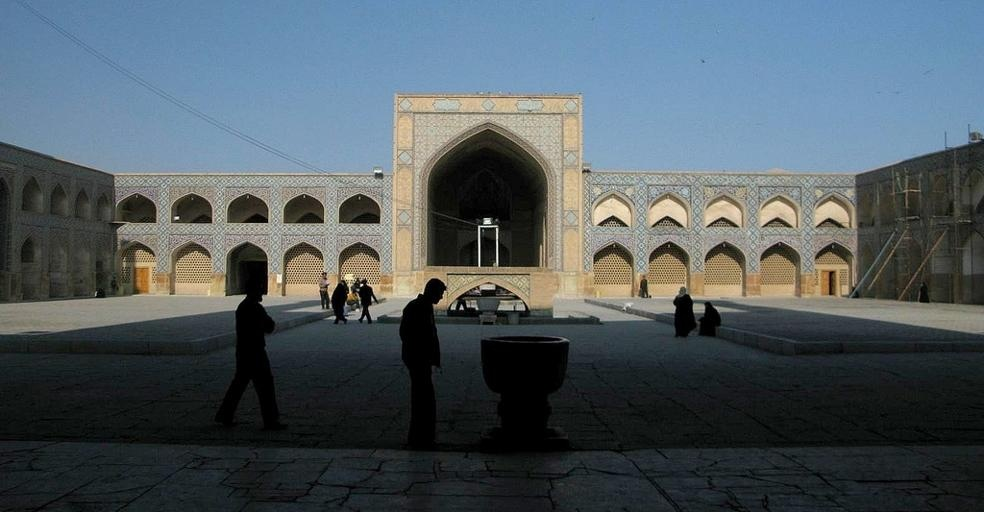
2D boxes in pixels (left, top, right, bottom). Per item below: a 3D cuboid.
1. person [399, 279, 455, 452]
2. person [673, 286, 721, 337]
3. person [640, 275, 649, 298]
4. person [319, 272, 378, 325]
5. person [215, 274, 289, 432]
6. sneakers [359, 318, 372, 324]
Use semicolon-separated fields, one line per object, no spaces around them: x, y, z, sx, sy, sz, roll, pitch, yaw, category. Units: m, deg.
-1.231;1.853;14.020;0.737;2.910;0.279;0;-4;-4;person
5.860;1.594;22.954;1.583;1.152;0.464;0;-6;-13;person
6.525;1.277;34.221;0.322;0.939;0.762;-1;-3;11;person
-4.681;1.389;25.689;1.722;1.193;0.539;0;1;3;person
-4.430;1.750;14.670;1.147;2.664;0.930;1;-4;-16;person
-3.557;1.837;22.586;0.415;0.107;0.274;0;1;27;sneakers
